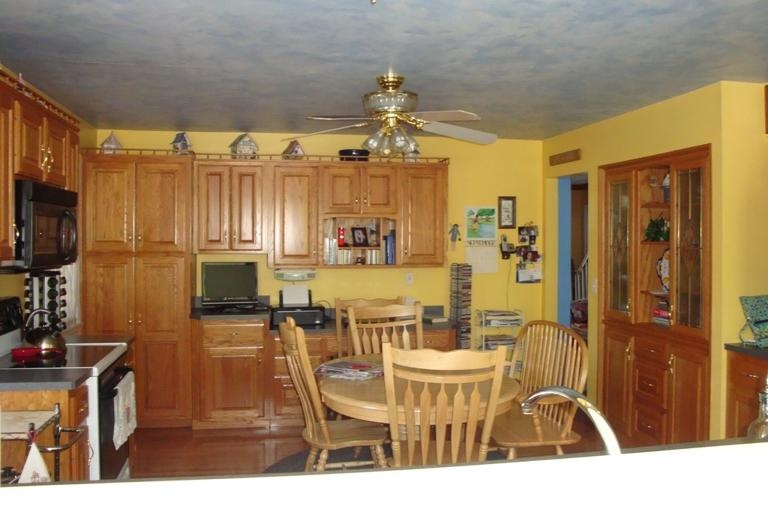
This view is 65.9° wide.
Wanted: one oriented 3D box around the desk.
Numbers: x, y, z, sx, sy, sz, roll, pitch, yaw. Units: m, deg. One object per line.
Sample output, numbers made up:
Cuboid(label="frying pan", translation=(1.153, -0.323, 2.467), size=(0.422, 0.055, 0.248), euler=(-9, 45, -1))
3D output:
Cuboid(label="desk", translation=(0.201, 0.810, 3.793), size=(1.003, 0.704, 1.035), euler=(0, 2, -6))

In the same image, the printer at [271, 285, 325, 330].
Cuboid(label="printer", translation=(-0.866, 0.511, 5.836), size=(0.462, 0.298, 0.429), euler=(0, -5, -9))

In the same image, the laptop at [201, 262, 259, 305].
Cuboid(label="laptop", translation=(-1.565, 0.275, 5.920), size=(0.520, 0.341, 0.063), euler=(0, 0, -9))

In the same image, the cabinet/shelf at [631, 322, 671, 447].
Cuboid(label="cabinet/shelf", translation=(2.275, 1.142, 5.053), size=(0.133, 0.755, 0.421), euler=(-2, -2, -8))

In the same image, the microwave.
Cuboid(label="microwave", translation=(-2.361, -0.226, 4.112), size=(0.435, 0.575, 0.729), euler=(0, 3, -9))

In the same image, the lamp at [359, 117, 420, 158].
Cuboid(label="lamp", translation=(0.054, -0.700, 3.602), size=(0.279, 0.172, 0.374), euler=(-3, -1, 30))

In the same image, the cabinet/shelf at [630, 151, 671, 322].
Cuboid(label="cabinet/shelf", translation=(2.391, -0.266, 5.103), size=(0.209, 1.094, 0.509), euler=(3, -5, -16))

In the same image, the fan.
Cuboid(label="fan", translation=(0.111, -0.829, 3.485), size=(1.318, 0.412, 1.224), euler=(-8, 13, -28))

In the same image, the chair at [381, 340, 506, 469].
Cuboid(label="chair", translation=(0.391, 0.859, 3.641), size=(0.712, 0.750, 0.809), euler=(-3, -1, 7))

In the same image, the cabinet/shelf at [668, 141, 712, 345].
Cuboid(label="cabinet/shelf", translation=(2.442, -0.112, 4.706), size=(0.111, 1.308, 0.406), euler=(-2, -2, -13))
